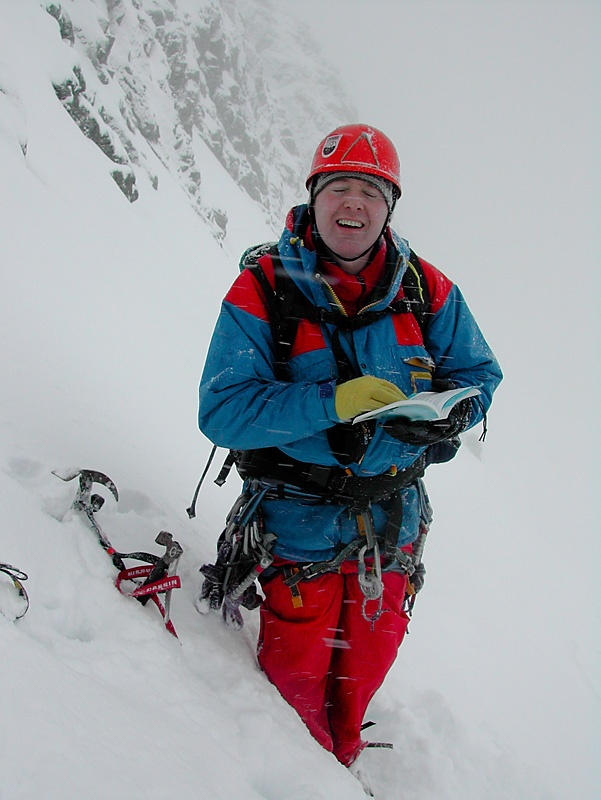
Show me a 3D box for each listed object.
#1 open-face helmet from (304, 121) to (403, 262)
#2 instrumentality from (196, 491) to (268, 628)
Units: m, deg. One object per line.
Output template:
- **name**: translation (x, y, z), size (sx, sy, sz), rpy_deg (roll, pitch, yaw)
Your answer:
- **open-face helmet**: translation (0.282, -1.092, 3.977), size (0.506, 0.594, 0.541), rpy_deg (6, 2, -21)
- **instrumentality**: translation (-0.237, 0.837, 4.189), size (0.536, 0.647, 0.294), rpy_deg (0, -1, 44)
